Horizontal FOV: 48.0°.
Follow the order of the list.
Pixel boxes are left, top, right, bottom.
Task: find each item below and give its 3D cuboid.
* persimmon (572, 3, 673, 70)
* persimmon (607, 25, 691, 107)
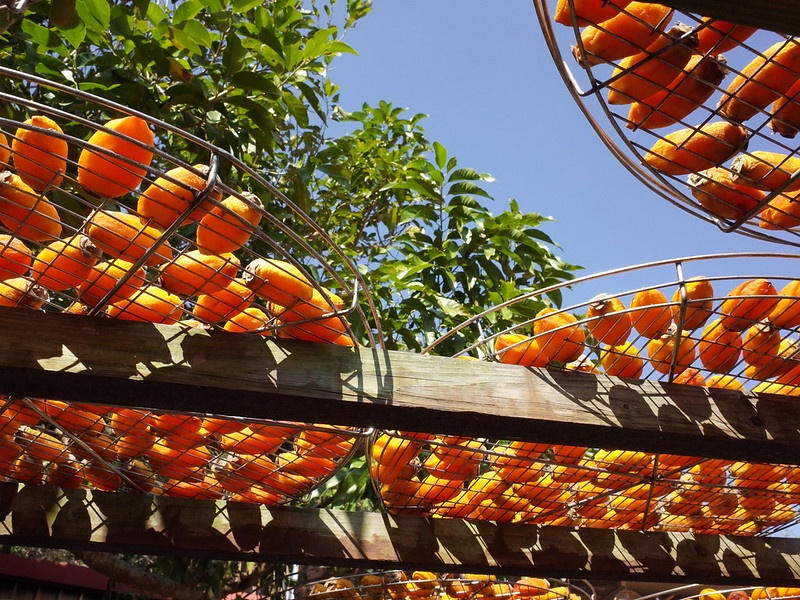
[{"bbox_3d":[0.556,-0.653,2.213,0.312,0.078,0.130,-16,-10,12],"label":"persimmon"},{"bbox_3d":[0.605,-0.567,2.277,0.183,0.112,0.280,6,-29,1],"label":"persimmon"}]
